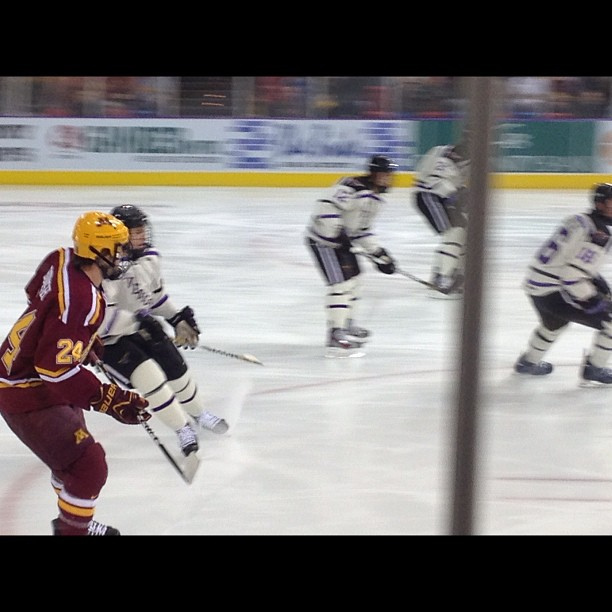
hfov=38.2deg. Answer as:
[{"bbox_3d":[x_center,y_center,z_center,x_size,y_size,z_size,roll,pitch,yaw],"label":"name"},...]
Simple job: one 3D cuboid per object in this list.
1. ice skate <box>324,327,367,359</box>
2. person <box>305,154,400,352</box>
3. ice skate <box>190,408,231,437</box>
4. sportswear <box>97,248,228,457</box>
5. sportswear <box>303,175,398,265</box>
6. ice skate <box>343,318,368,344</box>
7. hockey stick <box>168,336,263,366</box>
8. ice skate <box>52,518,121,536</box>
[{"bbox_3d":[0.236,0.202,5.282,0.247,0.152,0.320,0,12,2],"label":"ice skate"},{"bbox_3d":[0.236,-0.350,5.499,0.539,1.162,0.879,4,15,16],"label":"person"},{"bbox_3d":[-0.425,0.498,3.918,0.240,0.068,0.082,19,-21,24],"label":"ice skate"},{"bbox_3d":[-0.575,0.156,3.770,0.552,0.801,0.557,-17,21,-36],"label":"sportswear"},{"bbox_3d":[0.338,-0.534,5.693,0.625,0.555,0.588,-7,15,-9],"label":"sportswear"},{"bbox_3d":[0.301,0.159,5.436,0.161,0.063,0.188,5,13,-23],"label":"ice skate"},{"bbox_3d":[-0.495,0.250,4.866,0.618,0.038,0.086,12,15,-14],"label":"hockey stick"},{"bbox_3d":[-0.672,0.682,2.709,0.196,0.047,0.118,1,-1,1],"label":"ice skate"}]
